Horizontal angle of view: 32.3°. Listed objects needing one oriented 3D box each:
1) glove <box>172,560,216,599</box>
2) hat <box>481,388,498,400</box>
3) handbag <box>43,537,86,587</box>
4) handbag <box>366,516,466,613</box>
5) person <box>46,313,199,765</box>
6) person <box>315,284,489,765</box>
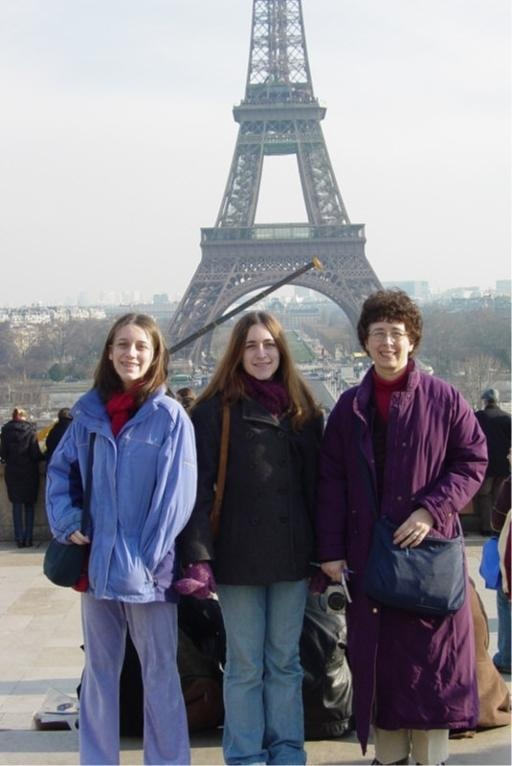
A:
[{"bbox_3d":[-0.211,0.658,2.990,0.126,0.114,0.055,-1,4,-33],"label":"glove"},{"bbox_3d":[1.961,0.099,7.422,0.094,0.101,0.115,17,-21,2],"label":"hat"},{"bbox_3d":[-0.662,0.613,3.003,0.173,0.154,0.095,0,1,30],"label":"handbag"},{"bbox_3d":[0.528,0.612,2.946,0.263,0.267,0.132,9,-20,0],"label":"handbag"},{"bbox_3d":[-0.473,0.533,3.094,0.531,1.568,0.403,0,1,2],"label":"person"},{"bbox_3d":[0.500,0.457,3.087,0.583,1.556,0.341,0,1,15],"label":"person"}]
